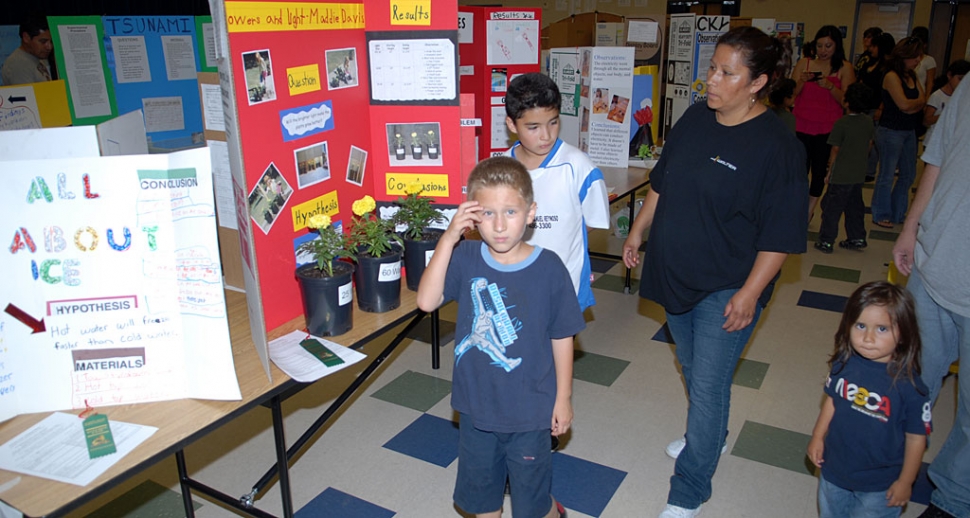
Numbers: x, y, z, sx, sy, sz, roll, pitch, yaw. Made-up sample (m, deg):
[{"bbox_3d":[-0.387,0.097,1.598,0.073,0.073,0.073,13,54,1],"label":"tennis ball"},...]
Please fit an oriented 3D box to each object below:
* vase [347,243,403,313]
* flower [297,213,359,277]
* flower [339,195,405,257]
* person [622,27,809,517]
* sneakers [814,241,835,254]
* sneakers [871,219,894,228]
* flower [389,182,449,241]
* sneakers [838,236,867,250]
[{"bbox_3d":[-0.566,0.103,3.412,0.363,0.332,0.328,-1,18,-3],"label":"vase"},{"bbox_3d":[-0.828,-0.095,3.320,0.376,0.337,0.340,3,19,13],"label":"flower"},{"bbox_3d":[-0.671,-0.155,3.441,0.380,0.334,0.348,-2,-5,19],"label":"flower"},{"bbox_3d":[1.309,0.106,3.548,0.809,2.780,0.731,-11,22,-24],"label":"person"},{"bbox_3d":[3.786,-0.146,6.708,0.193,0.123,0.174,7,20,25],"label":"sneakers"},{"bbox_3d":[4.891,-0.443,7.447,0.248,0.089,0.096,16,30,41],"label":"sneakers"},{"bbox_3d":[-0.411,-0.289,3.548,0.349,0.320,0.309,-6,16,-34],"label":"flower"},{"bbox_3d":[4.140,-0.184,6.808,0.315,0.127,0.122,8,22,31],"label":"sneakers"}]
